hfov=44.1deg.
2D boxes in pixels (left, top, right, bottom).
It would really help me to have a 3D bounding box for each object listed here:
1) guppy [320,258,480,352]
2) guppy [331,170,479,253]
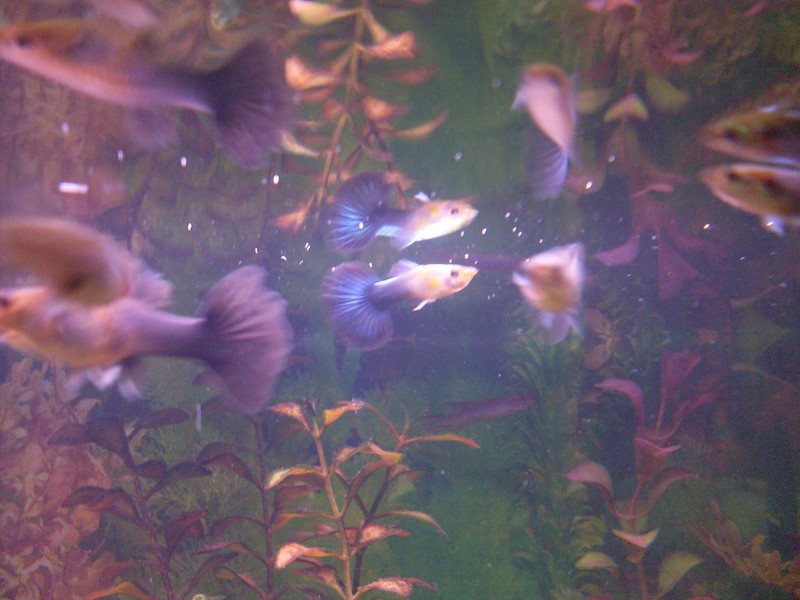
[{"bbox_3d":[-0.005,0.005,2.403,0.367,0.144,0.164,-6,48,13],"label":"guppy"},{"bbox_3d":[-0.004,-0.223,2.415,0.367,0.135,0.136,-8,48,12],"label":"guppy"}]
